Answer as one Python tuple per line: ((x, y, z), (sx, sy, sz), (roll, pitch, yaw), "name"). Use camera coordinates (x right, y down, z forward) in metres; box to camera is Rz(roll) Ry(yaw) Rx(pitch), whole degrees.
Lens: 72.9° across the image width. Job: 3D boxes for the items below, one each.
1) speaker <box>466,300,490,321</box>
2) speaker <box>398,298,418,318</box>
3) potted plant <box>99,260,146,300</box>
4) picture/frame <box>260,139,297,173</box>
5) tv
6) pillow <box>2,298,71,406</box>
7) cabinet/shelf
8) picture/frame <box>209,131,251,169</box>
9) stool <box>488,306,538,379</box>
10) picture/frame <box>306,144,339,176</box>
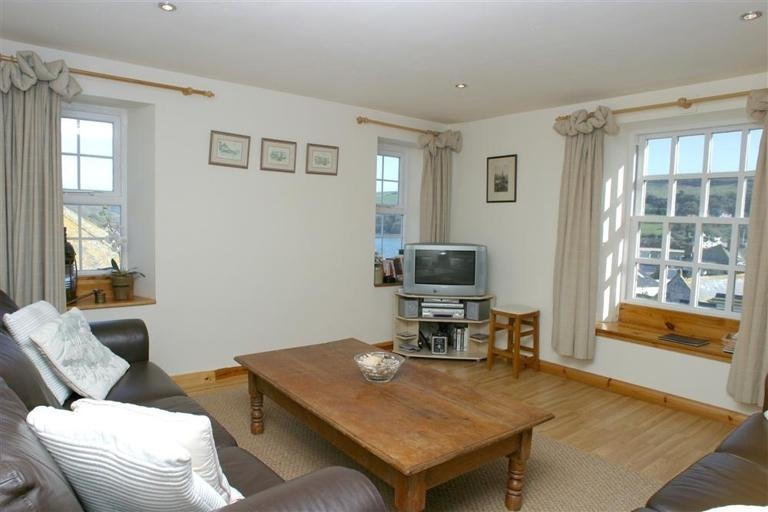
((1.082, 0.634, 5.962), (0.248, 0.239, 0.253), (-2, -11, 29), "speaker")
((0.285, 0.599, 5.966), (0.225, 0.210, 0.218), (1, -4, -15), "speaker")
((-2.425, 0.222, 4.902), (0.404, 0.321, 0.392), (1, -1, -39), "potted plant")
((-1.074, -1.040, 5.335), (0.383, 0.306, 0.020), (-3, 14, -40), "picture/frame")
((0.713, 0.068, 6.103), (1.128, 0.655, 0.581), (0, 0, 4), "tv")
((-2.235, 0.609, 3.341), (0.201, 0.627, 0.624), (-25, -34, -6), "pillow")
((0.667, 0.807, 6.039), (1.155, 0.710, 0.601), (1, 5, 7), "cabinet/shelf")
((-1.515, -1.046, 5.073), (0.434, 0.335, 0.034), (3, 4, -34), "picture/frame")
((1.404, 0.904, 5.675), (0.535, 0.588, 0.542), (3, 3, 22), "stool")
((-0.670, -1.045, 5.578), (0.405, 0.308, 0.030), (-1, 8, -35), "picture/frame")
